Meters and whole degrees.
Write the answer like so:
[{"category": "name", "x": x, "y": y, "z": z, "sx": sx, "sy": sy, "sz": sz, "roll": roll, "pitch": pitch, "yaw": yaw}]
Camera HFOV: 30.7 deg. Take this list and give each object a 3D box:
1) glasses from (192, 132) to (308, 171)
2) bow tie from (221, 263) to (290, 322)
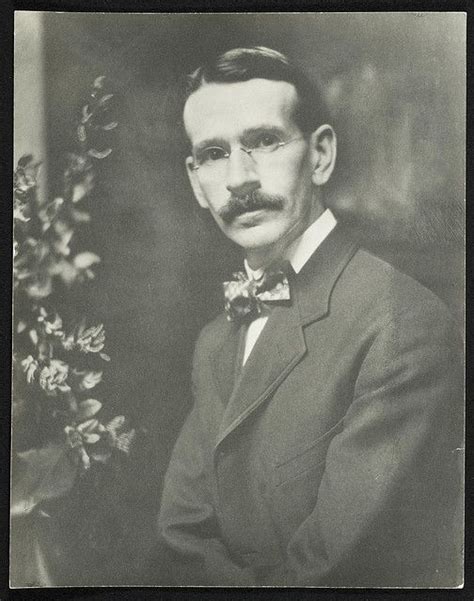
[{"category": "glasses", "x": 0.010, "y": -0.289, "z": 1.636, "sx": 0.146, "sy": 0.037, "sz": 0.068, "roll": -4, "pitch": 105, "yaw": -8}, {"category": "bow tie", "x": 0.036, "y": -0.020, "z": 1.643, "sx": 0.127, "sy": 0.047, "sz": 0.103, "roll": -7, "pitch": 95, "yaw": 10}]
